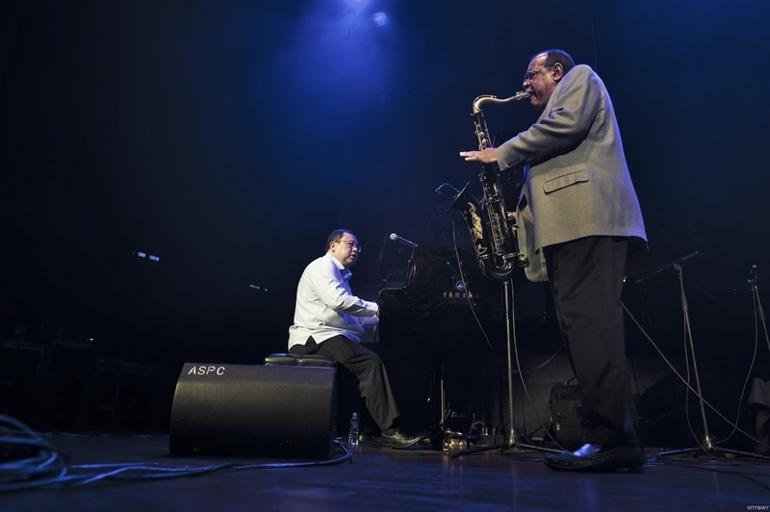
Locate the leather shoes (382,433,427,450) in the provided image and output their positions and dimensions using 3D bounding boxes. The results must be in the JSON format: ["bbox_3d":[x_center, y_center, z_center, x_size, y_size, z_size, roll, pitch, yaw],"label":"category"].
[{"bbox_3d":[0.164,1.691,5.327,0.403,0.153,0.156,-5,-12,15],"label":"leather shoes"}]

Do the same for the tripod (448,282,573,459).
[{"bbox_3d":[1.157,1.276,5.773,1.349,1.725,1.271,10,-22,-14],"label":"tripod"}]

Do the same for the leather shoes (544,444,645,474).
[{"bbox_3d":[1.397,1.343,3.973,0.610,0.184,0.241,1,-19,5],"label":"leather shoes"}]

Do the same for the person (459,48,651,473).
[{"bbox_3d":[1.363,0.036,4.116,0.775,2.760,0.890,-13,-25,35],"label":"person"}]
